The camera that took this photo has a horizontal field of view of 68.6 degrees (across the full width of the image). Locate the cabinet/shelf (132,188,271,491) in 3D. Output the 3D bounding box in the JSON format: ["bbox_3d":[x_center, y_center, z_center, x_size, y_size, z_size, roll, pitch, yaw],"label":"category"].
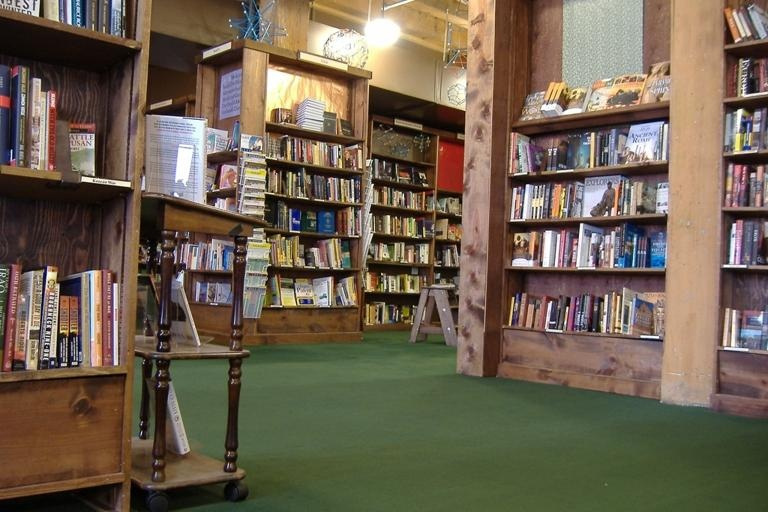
[{"bbox_3d":[-0.917,0.412,2.692,0.581,1.356,0.701,0,-3,-32],"label":"cabinet/shelf"}]
